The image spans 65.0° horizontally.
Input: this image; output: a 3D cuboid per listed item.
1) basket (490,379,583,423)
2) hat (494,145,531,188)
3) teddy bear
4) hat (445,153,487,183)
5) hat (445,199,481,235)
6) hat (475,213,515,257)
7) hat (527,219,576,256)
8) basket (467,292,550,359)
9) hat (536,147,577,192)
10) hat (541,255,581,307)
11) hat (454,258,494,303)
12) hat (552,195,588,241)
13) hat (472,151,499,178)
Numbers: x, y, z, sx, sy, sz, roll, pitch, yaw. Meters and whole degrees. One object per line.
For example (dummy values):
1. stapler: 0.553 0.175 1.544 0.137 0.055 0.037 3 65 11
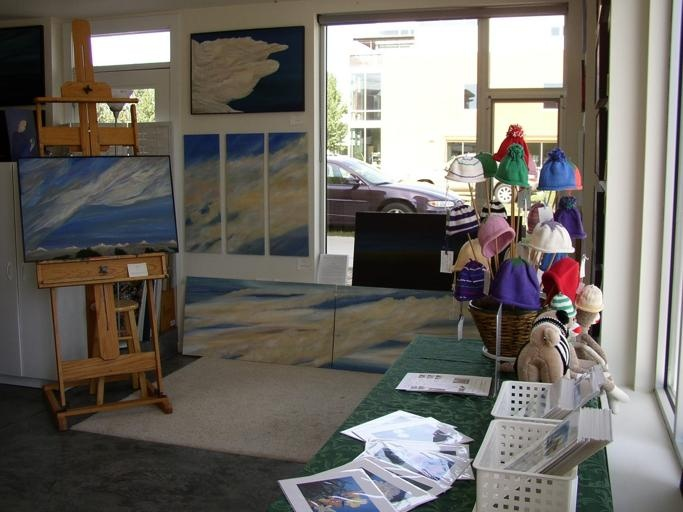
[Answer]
1. basket: 0.738 0.536 2.084 0.249 0.155 0.342 -3 -13 17
2. hat: 0.816 -0.433 2.560 0.155 0.204 0.144 2 11 16
3. teddy bear: 1.051 0.389 2.261 0.550 0.413 0.350 1 2 -44
4. hat: 0.648 -0.452 2.786 0.133 0.107 0.193 7 14 21
5. hat: 0.627 -0.198 2.848 0.209 0.183 0.123 -10 16 -28
6. hat: 0.738 -0.096 2.568 0.195 0.198 0.151 -5 12 -23
7. hat: 0.942 -0.079 2.449 0.133 0.090 0.188 3 3 6
8. basket: 0.822 0.344 2.675 0.315 0.227 0.312 1 6 -5
9. hat: 1.002 -0.392 2.546 0.213 0.193 0.162 -5 6 -9
10. hat: 1.007 0.102 2.465 0.148 0.220 0.115 6 12 22
11. hat: 0.674 0.126 2.786 0.229 0.227 0.150 -4 14 -33
12. hat: 1.167 -0.196 2.745 0.223 0.237 0.216 -1 7 3
13. hat: 0.751 -0.482 2.811 0.104 0.090 0.141 3 29 1
